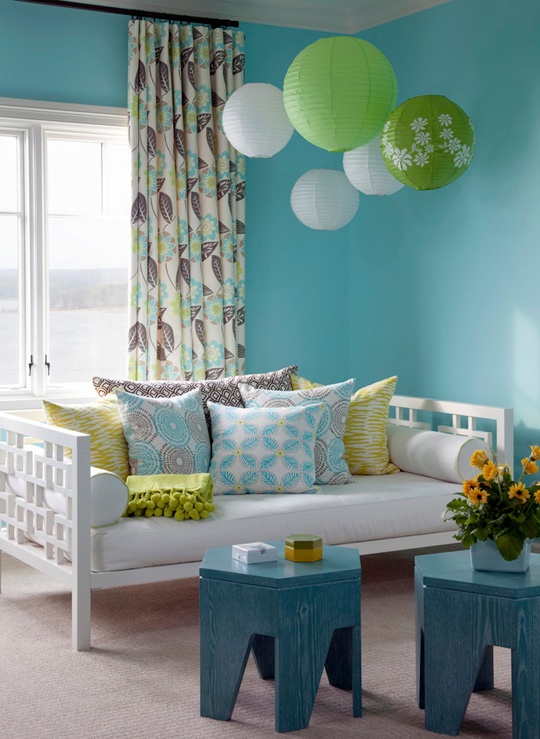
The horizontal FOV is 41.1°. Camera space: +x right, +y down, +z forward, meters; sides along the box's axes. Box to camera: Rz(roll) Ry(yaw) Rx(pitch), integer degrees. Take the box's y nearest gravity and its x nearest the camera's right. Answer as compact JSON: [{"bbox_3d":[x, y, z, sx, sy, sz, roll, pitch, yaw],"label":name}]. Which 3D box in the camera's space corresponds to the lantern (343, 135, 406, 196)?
[{"bbox_3d":[0.347,-0.720,2.593,0.205,0.189,0.190,0,-8,-14],"label":"lantern"}]

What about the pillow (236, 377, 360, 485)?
[{"bbox_3d":[0.091,0.288,2.888,0.530,0.432,0.183,-4,6,-27],"label":"pillow"}]

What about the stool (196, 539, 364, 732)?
[{"bbox_3d":[0.006,0.575,1.683,0.413,0.308,0.372,0,-3,-8],"label":"stool"}]

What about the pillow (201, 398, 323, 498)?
[{"bbox_3d":[-0.027,0.307,2.682,0.378,0.280,0.128,0,-23,6],"label":"pillow"}]

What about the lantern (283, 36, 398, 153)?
[{"bbox_3d":[0.200,-0.764,1.972,0.297,0.315,0.236,0,-3,-11],"label":"lantern"}]

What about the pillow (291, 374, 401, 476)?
[{"bbox_3d":[0.275,0.212,3.198,0.611,0.476,0.233,8,17,25],"label":"pillow"}]

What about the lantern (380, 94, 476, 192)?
[{"bbox_3d":[0.491,-0.699,2.323,0.314,0.283,0.294,1,5,10],"label":"lantern"}]

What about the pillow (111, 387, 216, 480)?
[{"bbox_3d":[-0.401,0.243,2.725,0.209,0.326,0.410,9,5,42],"label":"pillow"}]

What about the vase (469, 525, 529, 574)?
[{"bbox_3d":[0.495,0.384,1.551,0.106,0.058,0.099,0,-1,7],"label":"vase"}]

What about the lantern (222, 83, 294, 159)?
[{"bbox_3d":[-0.065,-0.842,2.553,0.304,0.274,0.244,-2,5,-11],"label":"lantern"}]

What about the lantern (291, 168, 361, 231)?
[{"bbox_3d":[0.214,-0.701,3.064,0.350,0.281,0.253,-1,5,-6],"label":"lantern"}]
